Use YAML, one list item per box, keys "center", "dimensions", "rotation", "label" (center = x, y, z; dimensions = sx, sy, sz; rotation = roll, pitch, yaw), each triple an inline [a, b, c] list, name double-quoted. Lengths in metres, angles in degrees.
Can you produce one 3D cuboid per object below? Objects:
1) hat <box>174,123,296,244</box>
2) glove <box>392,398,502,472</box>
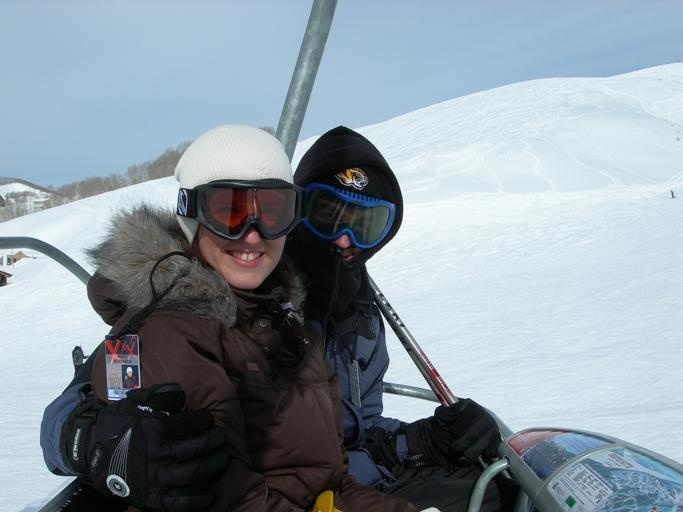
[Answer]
- center: [-0.496, -0.354, 3.036]
  dimensions: [0.704, 0.426, 0.531]
  rotation: [4, 3, 43]
  label: "hat"
- center: [0.542, 0.901, 3.250]
  dimensions: [0.564, 0.275, 0.216]
  rotation: [-6, 17, 11]
  label: "glove"
